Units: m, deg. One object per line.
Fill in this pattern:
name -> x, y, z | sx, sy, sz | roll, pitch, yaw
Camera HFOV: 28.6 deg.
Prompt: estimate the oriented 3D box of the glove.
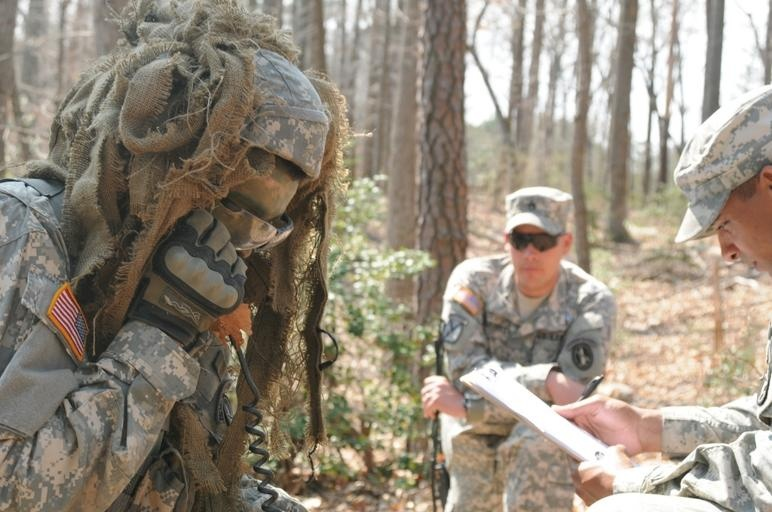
glove -> -1.665, 0.142, 12.428 | 0.614, 0.829, 0.571 | 41, -8, -39
